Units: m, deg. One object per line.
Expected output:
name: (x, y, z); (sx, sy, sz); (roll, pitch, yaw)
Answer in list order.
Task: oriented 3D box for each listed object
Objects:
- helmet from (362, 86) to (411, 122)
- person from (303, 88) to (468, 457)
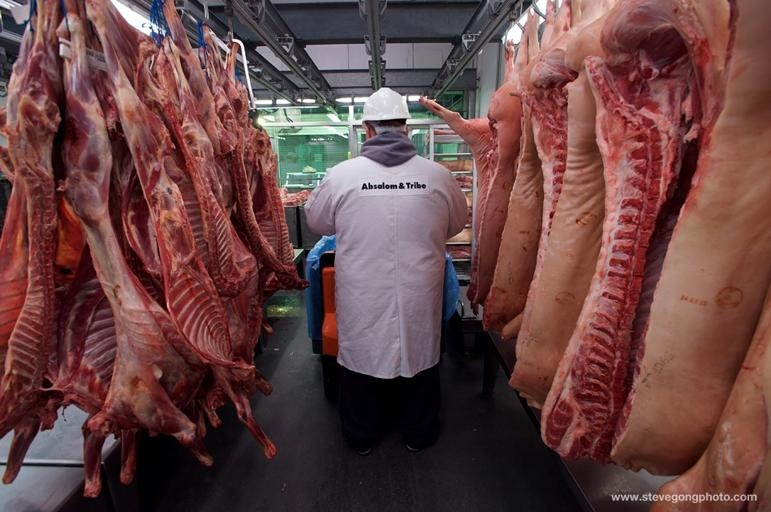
helmet: (-0.002, -0.751, 2.706); (0.155, 0.110, 0.205); (-5, 18, -4)
person: (-0.012, 0.079, 2.785); (0.771, 1.773, 0.504); (3, 15, 7)
